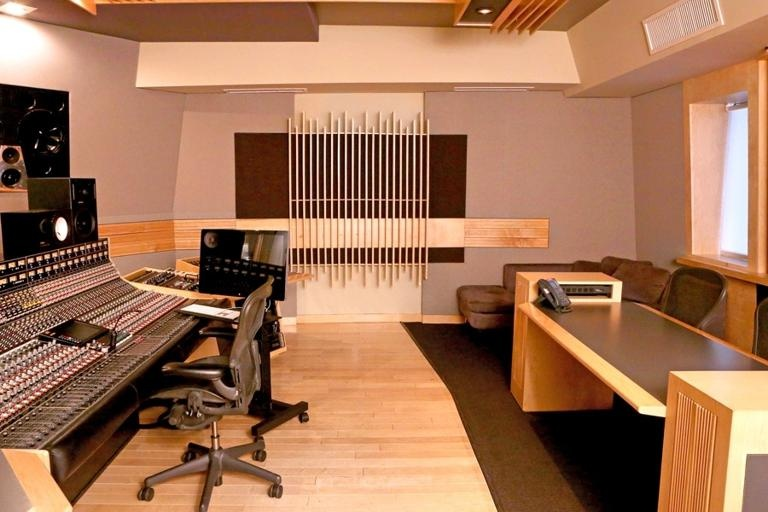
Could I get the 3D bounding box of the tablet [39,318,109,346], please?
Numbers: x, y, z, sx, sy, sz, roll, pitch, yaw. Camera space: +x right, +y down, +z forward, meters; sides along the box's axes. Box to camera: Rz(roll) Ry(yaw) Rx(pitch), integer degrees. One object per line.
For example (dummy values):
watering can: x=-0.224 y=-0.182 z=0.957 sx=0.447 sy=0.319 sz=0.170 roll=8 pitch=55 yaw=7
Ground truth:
tablet: x=-2.015 y=0.502 z=3.604 sx=0.222 sy=0.051 sz=0.198 roll=13 pitch=17 yaw=13

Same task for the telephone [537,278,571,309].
telephone: x=1.430 y=0.348 z=4.770 sx=0.207 sy=0.273 sz=0.101 roll=-32 pitch=-4 yaw=-35

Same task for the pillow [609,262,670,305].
pillow: x=2.835 y=0.294 z=6.059 sx=0.173 sy=0.481 sz=0.513 roll=31 pitch=-10 yaw=-35

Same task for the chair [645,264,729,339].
chair: x=2.580 y=0.368 z=4.563 sx=0.508 sy=0.555 sz=0.432 roll=-6 pitch=12 yaw=-16

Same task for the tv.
tv: x=-1.202 y=0.084 z=4.717 sx=0.667 sy=0.456 sz=0.067 roll=2 pitch=0 yaw=7

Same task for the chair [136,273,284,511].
chair: x=-1.184 y=1.132 z=4.816 sx=1.531 sy=2.111 sz=1.651 roll=3 pitch=0 yaw=-7
